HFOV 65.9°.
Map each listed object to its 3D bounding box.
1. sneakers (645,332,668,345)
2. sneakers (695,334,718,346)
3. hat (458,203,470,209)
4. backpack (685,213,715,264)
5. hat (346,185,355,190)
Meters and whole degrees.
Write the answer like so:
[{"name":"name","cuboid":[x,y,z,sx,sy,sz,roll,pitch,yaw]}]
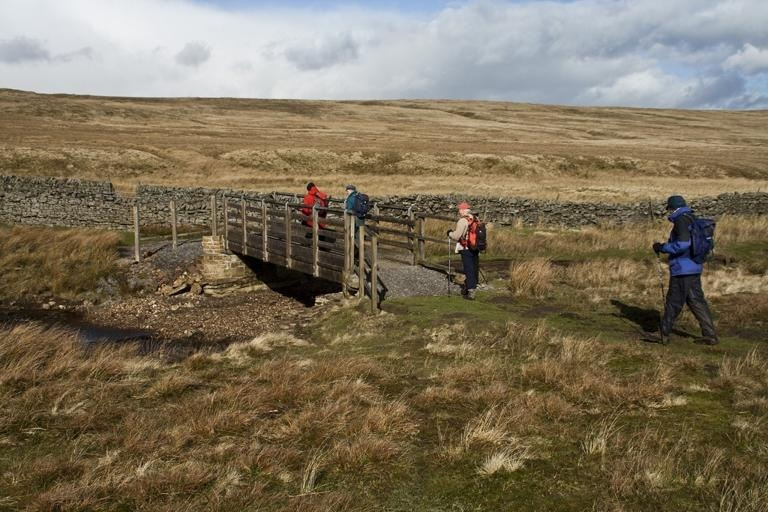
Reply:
[{"name":"sneakers","cuboid":[5.625,1.699,12.261,0.446,0.204,0.187,10,11,29]},{"name":"sneakers","cuboid":[6.557,1.730,12.140,0.196,0.221,0.476,-6,9,-44]},{"name":"hat","cuboid":[1.913,-1.192,14.282,0.198,0.159,0.327,3,10,11]},{"name":"backpack","cuboid":[6.178,-0.278,11.598,0.484,0.915,0.379,3,9,10]},{"name":"hat","cuboid":[-0.965,-1.915,16.857,0.235,0.145,0.320,-2,7,-12]}]
